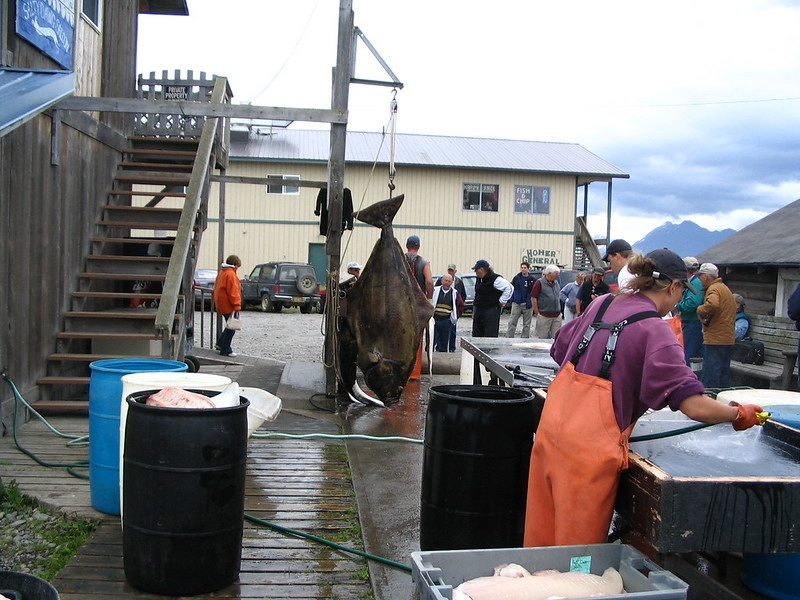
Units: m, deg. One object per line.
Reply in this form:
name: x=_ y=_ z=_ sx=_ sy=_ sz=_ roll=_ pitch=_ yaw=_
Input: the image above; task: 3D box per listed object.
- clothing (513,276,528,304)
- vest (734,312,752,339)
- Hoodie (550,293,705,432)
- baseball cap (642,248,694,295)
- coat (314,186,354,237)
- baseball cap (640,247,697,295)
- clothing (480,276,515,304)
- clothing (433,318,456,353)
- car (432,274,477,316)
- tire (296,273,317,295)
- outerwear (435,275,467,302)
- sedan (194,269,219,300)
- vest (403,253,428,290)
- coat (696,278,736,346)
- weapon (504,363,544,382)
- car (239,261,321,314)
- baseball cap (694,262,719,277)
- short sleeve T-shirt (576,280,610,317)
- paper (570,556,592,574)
clothing: x=2.205 y=-0.187 z=14.509 sx=0.418 sy=0.536 sz=0.263 roll=0 pitch=1 yaw=-14
vest: x=5.556 y=0.414 z=12.887 sx=0.285 sy=0.463 sz=0.232 roll=16 pitch=12 yaw=28
Hoodie: x=1.332 y=0.407 z=5.002 sx=0.392 sy=0.799 sz=1.289 roll=6 pitch=10 yaw=-33
baseball cap: x=1.660 y=-0.194 z=4.932 sx=0.264 sy=0.185 sz=0.187 roll=-2 pitch=17 yaw=-43
coat: x=-0.816 y=-1.107 z=9.960 sx=0.520 sy=0.684 sz=0.081 roll=2 pitch=41 yaw=-8
baseball cap: x=1.689 y=-0.222 z=4.965 sx=0.306 sy=0.200 sz=0.235 roll=4 pitch=11 yaw=1
clothing: x=1.654 y=-0.148 z=12.582 sx=0.313 sy=0.445 sz=0.117 roll=18 pitch=18 yaw=38
clothing: x=0.696 y=0.534 z=12.765 sx=0.374 sy=0.286 sz=0.870 roll=3 pitch=-45 yaw=3
car: x=1.818 y=-0.142 z=22.431 sx=0.920 sy=0.969 sz=1.832 roll=-1 pitch=7 yaw=-4
tire: x=-2.735 y=-0.503 z=22.819 sx=0.448 sy=0.533 sz=0.176 roll=-7 pitch=12 yaw=-10
outerwear: x=1.005 y=-0.266 z=13.973 sx=0.467 sy=0.507 sz=0.875 roll=0 pitch=-2 yaw=-7
sedan: x=-4.589 y=-0.377 z=18.727 sx=0.668 sy=0.591 sz=1.594 roll=0 pitch=9 yaw=-12
vest: x=0.157 y=-0.402 z=10.688 sx=0.284 sy=0.469 sz=0.270 roll=20 pitch=-12 yaw=-20
coat: x=4.163 y=0.155 z=10.436 sx=0.407 sy=0.921 sz=0.642 roll=-7 pitch=-16 yaw=41
weapon: x=1.017 y=0.591 z=6.368 sx=0.183 sy=0.051 sz=0.141 roll=19 pitch=9 yaw=-14
car: x=-3.441 y=-0.134 z=23.168 sx=1.650 sy=1.601 sz=3.177 roll=0 pitch=8 yaw=-26
baseball cap: x=4.198 y=-0.369 z=10.854 sx=0.213 sy=0.187 sz=0.326 roll=2 pitch=11 yaw=-8
short sleeve T-shirt: x=2.295 y=-0.047 z=9.512 sx=0.471 sy=0.600 sz=0.302 roll=3 pitch=4 yaw=14
paper: x=1.021 y=1.497 z=4.512 sx=0.082 sy=0.070 sz=0.012 roll=-1 pitch=-8 yaw=-4
